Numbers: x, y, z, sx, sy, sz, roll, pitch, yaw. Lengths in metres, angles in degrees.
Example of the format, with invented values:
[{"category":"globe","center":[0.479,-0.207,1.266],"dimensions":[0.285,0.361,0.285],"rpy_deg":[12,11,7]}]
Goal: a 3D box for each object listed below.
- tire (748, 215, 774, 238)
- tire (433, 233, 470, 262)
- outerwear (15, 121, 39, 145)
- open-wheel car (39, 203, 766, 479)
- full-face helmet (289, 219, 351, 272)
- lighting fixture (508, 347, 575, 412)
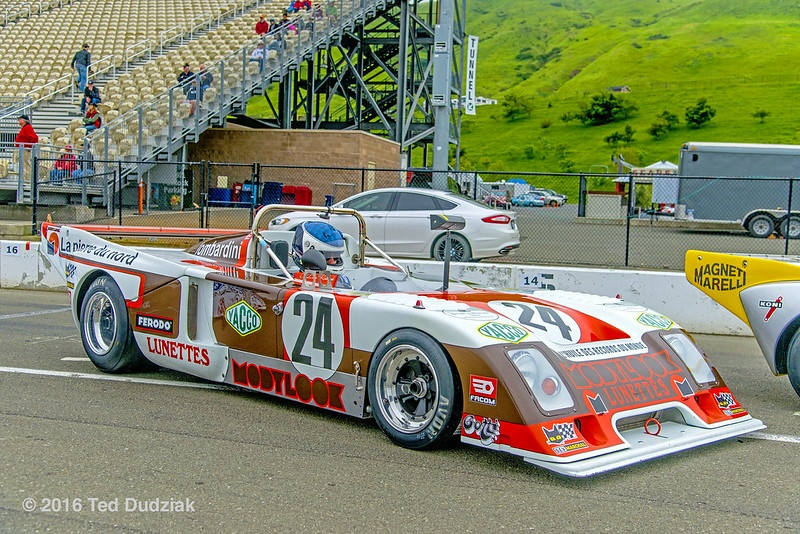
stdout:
[{"category":"tire","center":[10.475,-1.158,32.071],"dimensions":[0.660,0.717,0.241],"rpy_deg":[4,6,37]},{"category":"tire","center":[1.037,-0.373,21.593],"dimensions":[0.575,0.630,0.198],"rpy_deg":[2,-1,14]},{"category":"outerwear","center":[-10.292,-3.656,30.531],"dimensions":[0.425,0.763,1.400],"rpy_deg":[4,9,-31]},{"category":"open-wheel car","center":[-0.585,0.863,17.469],"dimensions":[5.018,2.452,11.920],"rpy_deg":[1,3,-45]},{"category":"full-face helmet","center":[-1.155,-0.288,15.409],"dimensions":[0.684,0.638,0.617],"rpy_deg":[2,9,6]},{"category":"lighting fixture","center":[1.780,1.437,14.015],"dimensions":[0.803,0.721,0.350],"rpy_deg":[7,8,31]}]
